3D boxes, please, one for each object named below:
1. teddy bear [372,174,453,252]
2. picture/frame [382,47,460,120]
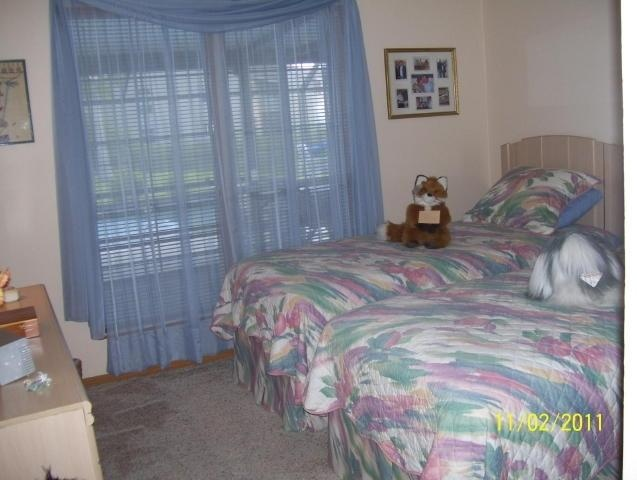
[{"bbox_3d":[0.650,-0.174,3.451,0.303,0.447,0.568,1,-4,-11],"label":"teddy bear"},{"bbox_3d":[0.828,-1.339,4.479,0.584,0.471,0.028,-6,9,-19],"label":"picture/frame"}]
